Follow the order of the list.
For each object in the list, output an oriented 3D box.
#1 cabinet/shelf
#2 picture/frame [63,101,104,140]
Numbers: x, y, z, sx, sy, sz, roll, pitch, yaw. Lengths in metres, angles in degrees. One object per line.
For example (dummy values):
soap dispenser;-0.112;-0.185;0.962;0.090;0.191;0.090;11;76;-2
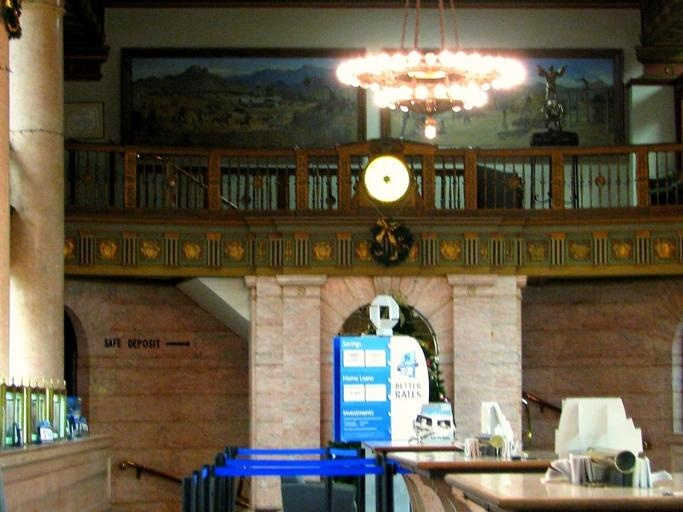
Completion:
cabinet/shelf;1.695;2.607;16.119;1.800;0.819;4.018;0;-6;-16
picture/frame;-4.526;-2.360;24.417;0.930;1.006;0.077;-1;-4;0
